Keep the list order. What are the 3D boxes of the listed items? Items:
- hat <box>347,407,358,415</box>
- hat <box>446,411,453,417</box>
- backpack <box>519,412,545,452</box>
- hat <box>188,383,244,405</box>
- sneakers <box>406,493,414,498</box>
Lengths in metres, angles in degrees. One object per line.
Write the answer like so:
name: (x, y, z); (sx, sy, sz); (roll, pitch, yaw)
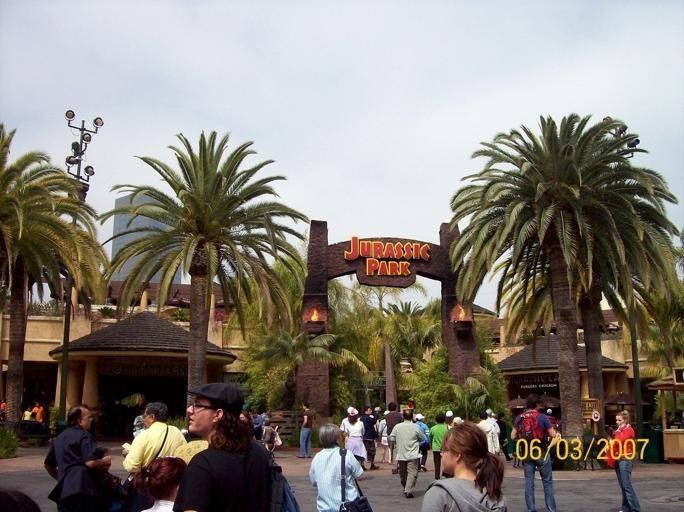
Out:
hat: (0.303, 4.185, 16.733); (0.388, 0.162, 0.424); (1, -9, 3)
hat: (2.993, 4.379, 17.147); (0.173, 0.083, 0.249); (-1, -9, 3)
backpack: (3.548, 3.233, 11.622); (0.433, 0.680, 0.440); (-14, -11, 42)
hat: (-0.939, 1.004, 4.607); (0.197, 0.112, 0.272); (12, -5, -41)
sneakers: (1.509, 5.261, 13.574); (0.134, 0.114, 0.145); (-7, -11, 39)
